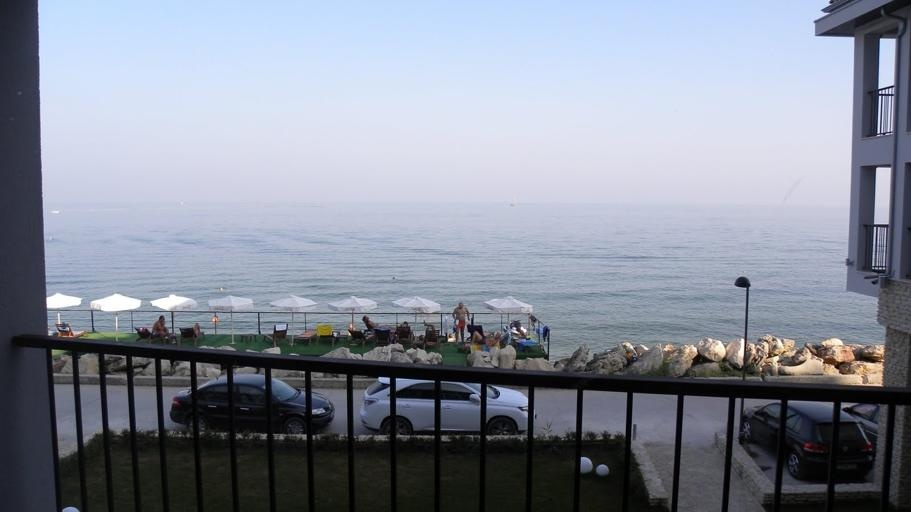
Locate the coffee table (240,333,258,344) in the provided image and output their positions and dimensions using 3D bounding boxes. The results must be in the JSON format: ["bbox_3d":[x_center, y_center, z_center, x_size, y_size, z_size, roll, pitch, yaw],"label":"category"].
[{"bbox_3d":[-32.284,12.753,149.102,2.982,1.035,1.458,1,1,6],"label":"coffee table"}]

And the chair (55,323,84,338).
[{"bbox_3d":[-60.312,11.445,149.381,3.997,1.625,2.388,1,4,10],"label":"chair"}]
